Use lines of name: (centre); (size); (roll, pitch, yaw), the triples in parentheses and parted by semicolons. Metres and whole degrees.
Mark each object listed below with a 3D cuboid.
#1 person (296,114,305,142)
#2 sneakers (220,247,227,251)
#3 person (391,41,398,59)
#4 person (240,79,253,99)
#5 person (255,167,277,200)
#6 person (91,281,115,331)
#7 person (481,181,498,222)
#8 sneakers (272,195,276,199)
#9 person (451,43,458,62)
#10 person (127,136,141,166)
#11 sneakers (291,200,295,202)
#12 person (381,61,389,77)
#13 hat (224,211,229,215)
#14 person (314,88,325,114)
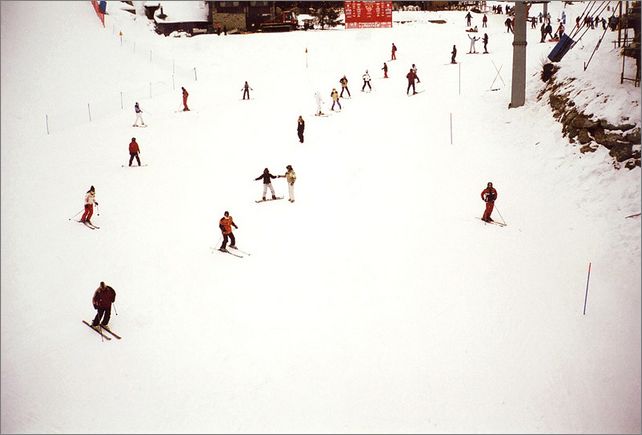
person: (-1.117, -4.911, 32.787); (0.296, 1.357, 1.460); (-2, -2, -4)
sneakers: (-4.111, 1.308, 24.858); (0.158, 0.189, 0.057); (1, -1, 3)
person: (5.737, -12.995, 46.712); (0.443, 1.463, 2.157); (-2, -2, 8)
person: (-5.098, -8.749, 40.831); (0.760, 1.478, 3.381); (-2, -2, -7)
person: (-2.556, -1.622, 28.459); (0.729, 1.579, 2.118); (-2, -2, -6)
person: (-8.077, 3.210, 21.913); (0.802, 1.966, 0.605); (-7, 22, -38)
person: (7.104, -0.671, 24.984); (0.606, 1.836, 0.604); (-3, 25, 5)
sneakers: (-2.245, -0.987, 28.204); (0.163, 0.166, 0.140); (-1, 19, -5)
person: (9.583, -11.785, 42.792); (0.440, 0.952, 1.391); (-2, -2, 12)
person: (-9.950, -3.554, 31.493); (0.672, 1.712, 1.913); (-1, -2, -17)
sneakers: (-1.346, -0.799, 27.910); (0.198, 0.135, 0.090); (1, 12, 12)
person: (4.718, -10.916, 43.867); (0.693, 0.645, 1.677); (17, -3, 7)
hat: (-3.947, -0.184, 24.587); (0.132, 0.166, 0.475); (-2, -2, -4)
person: (-0.122, -7.399, 38.106); (0.719, 0.632, 2.199); (5, -9, 0)
